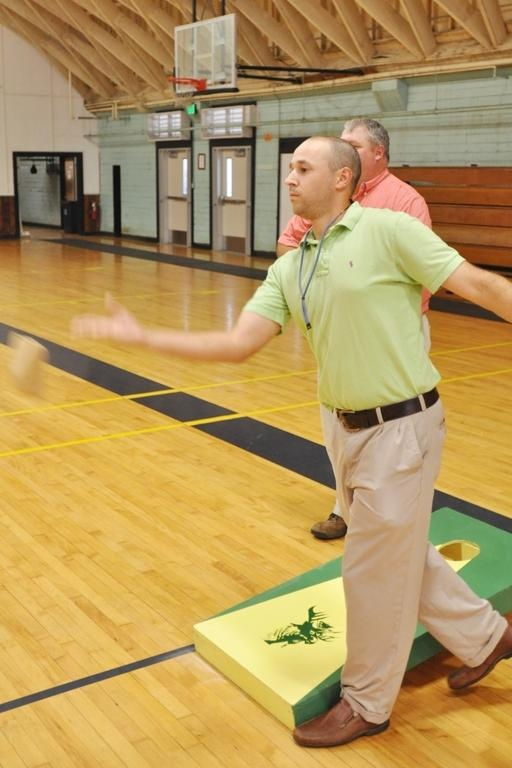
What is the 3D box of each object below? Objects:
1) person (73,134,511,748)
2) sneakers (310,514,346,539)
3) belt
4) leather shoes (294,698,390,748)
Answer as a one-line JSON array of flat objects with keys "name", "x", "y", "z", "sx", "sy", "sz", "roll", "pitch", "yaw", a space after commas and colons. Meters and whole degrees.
[{"name": "person", "x": 0.227, "y": 0.081, "z": 1.917, "sx": 1.323, "sy": 1.578, "sz": 1.003, "roll": -4, "pitch": 4, "yaw": -20}, {"name": "sneakers", "x": 0.289, "y": 0.561, "z": 2.464, "sx": 0.151, "sy": 0.060, "sz": 0.068, "roll": 2, "pitch": -1, "yaw": -44}, {"name": "belt", "x": 0.255, "y": 0.052, "z": 1.212, "sx": 0.118, "sy": 0.030, "sz": 0.110, "roll": -14, "pitch": 7, "yaw": 28}, {"name": "leather shoes", "x": 0.161, "y": 0.714, "z": 1.349, "sx": 0.233, "sy": 0.091, "sz": 0.084, "roll": -6, "pitch": 10, "yaw": -6}]
